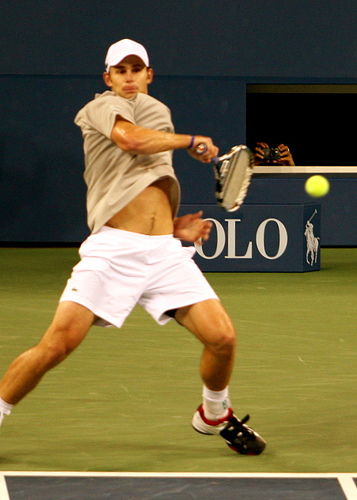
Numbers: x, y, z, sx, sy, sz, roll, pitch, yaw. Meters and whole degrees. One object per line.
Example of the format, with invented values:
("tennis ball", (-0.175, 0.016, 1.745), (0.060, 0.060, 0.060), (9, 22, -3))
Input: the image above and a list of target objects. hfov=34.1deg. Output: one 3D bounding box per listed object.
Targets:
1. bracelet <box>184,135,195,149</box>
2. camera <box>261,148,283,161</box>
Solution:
("bracelet", (0.041, -0.346, 1.845), (0.009, 0.032, 0.034), (19, 21, 5))
("camera", (1.815, -1.858, 11.265), (0.413, 0.240, 0.212), (0, 4, 8))
